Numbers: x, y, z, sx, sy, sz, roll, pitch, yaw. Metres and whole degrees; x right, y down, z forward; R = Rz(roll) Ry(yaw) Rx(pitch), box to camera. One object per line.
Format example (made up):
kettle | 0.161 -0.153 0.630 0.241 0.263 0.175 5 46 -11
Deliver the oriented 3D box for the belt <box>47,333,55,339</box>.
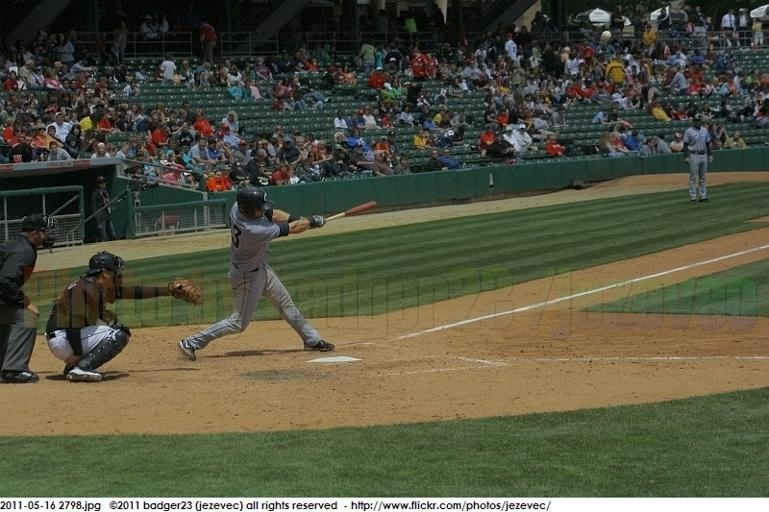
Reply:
belt | -5.776 1.375 23.824 0.117 0.078 0.116 -9 12 -39

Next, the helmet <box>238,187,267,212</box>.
helmet | -2.389 -1.001 24.316 0.528 0.382 0.337 -12 51 4

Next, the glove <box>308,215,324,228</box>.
glove | -1.229 -0.618 24.561 0.299 0.196 0.130 3 34 16

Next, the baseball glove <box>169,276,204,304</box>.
baseball glove | -3.488 0.625 24.106 0.523 0.212 0.397 25 12 36

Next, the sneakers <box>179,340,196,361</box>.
sneakers | -3.532 1.696 24.693 0.262 0.346 0.120 -22 29 11

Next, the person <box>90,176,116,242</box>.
person | -6.833 -1.118 33.284 0.422 1.514 0.579 -2 3 3
